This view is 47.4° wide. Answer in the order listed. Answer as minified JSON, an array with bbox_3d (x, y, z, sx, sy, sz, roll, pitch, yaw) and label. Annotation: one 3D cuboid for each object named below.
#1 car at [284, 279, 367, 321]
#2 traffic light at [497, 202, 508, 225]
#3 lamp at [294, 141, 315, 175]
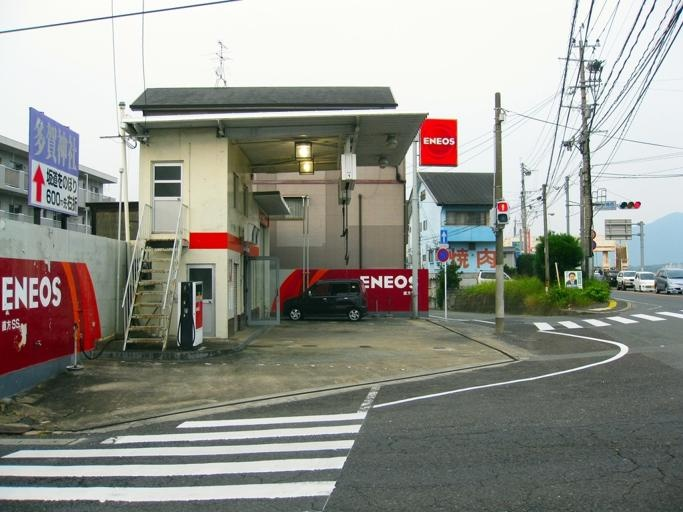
[{"bbox_3d":[-0.492,1.770,31.019,2.573,1.450,1.598,2,-3,5],"label":"car"},{"bbox_3d":[4.957,-1.263,23.805,0.249,0.725,0.464,-4,7,-33],"label":"traffic light"},{"bbox_3d":[-1.218,-3.111,24.995,0.531,0.971,1.086,0,6,-4],"label":"lamp"}]
